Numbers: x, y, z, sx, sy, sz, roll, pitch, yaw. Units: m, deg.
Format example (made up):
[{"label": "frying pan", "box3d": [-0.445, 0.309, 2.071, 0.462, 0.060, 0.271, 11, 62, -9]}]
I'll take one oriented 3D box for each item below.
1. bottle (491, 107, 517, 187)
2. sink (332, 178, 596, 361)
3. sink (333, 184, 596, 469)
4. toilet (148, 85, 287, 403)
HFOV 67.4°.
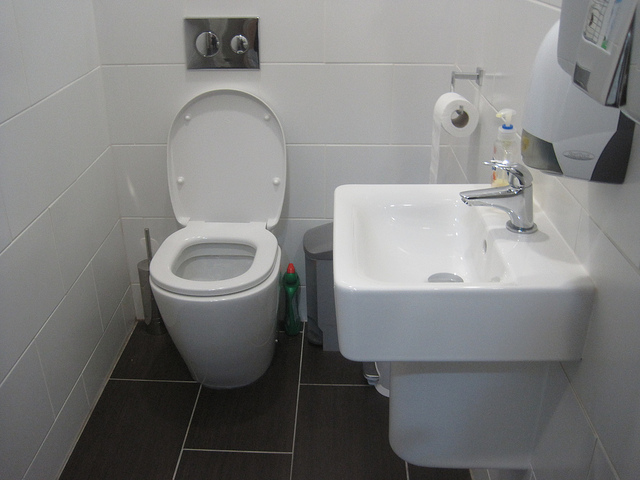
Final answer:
[{"label": "bottle", "box3d": [0.474, -0.231, 1.239, 0.055, 0.234, 0.060, 15, 49, 27]}, {"label": "sink", "box3d": [0.287, 0.008, 1.160, 0.508, 0.269, 0.558, -1, 34, 3]}, {"label": "sink", "box3d": [0.322, 0.234, 1.340, 0.546, 0.653, 0.915, 0, 29, -1]}, {"label": "toilet", "box3d": [-0.388, 0.019, 1.936, 0.497, 1.057, 0.662, -2, 31, 1]}]
